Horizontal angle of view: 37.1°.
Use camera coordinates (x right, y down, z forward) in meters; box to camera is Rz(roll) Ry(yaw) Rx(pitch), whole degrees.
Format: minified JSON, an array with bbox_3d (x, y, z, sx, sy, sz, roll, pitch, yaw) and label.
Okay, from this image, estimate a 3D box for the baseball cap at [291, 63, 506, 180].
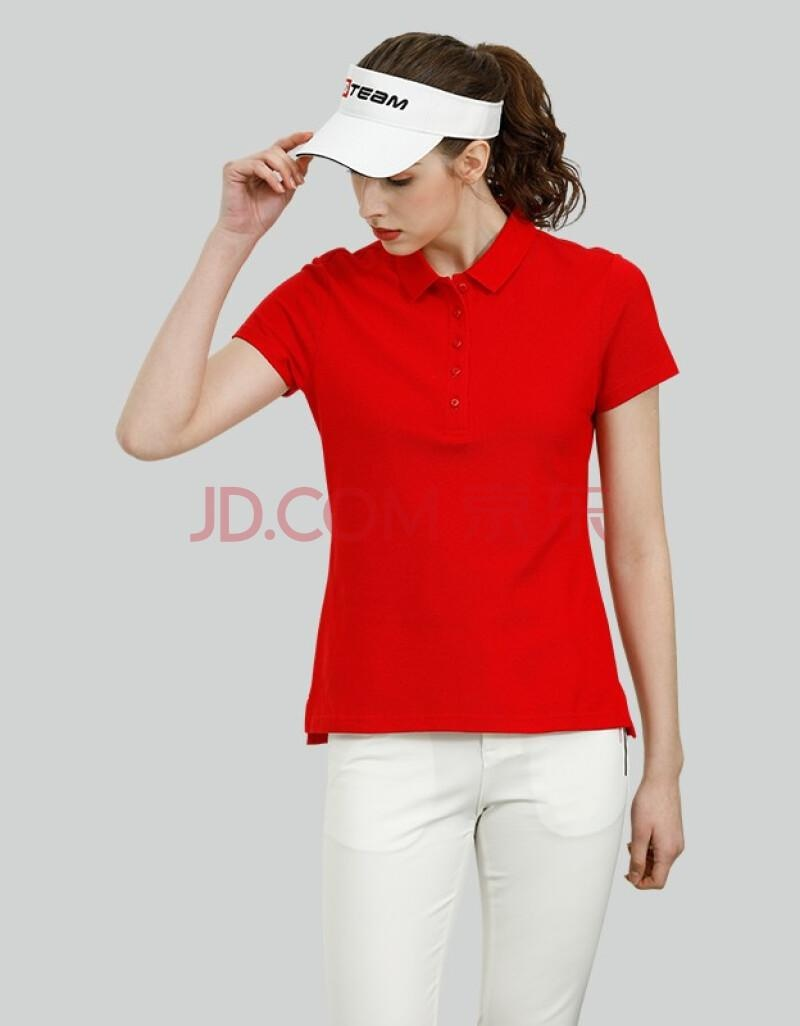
[{"bbox_3d":[0.010,-0.498,1.471,0.211,0.091,0.285,25,41,28],"label":"baseball cap"}]
